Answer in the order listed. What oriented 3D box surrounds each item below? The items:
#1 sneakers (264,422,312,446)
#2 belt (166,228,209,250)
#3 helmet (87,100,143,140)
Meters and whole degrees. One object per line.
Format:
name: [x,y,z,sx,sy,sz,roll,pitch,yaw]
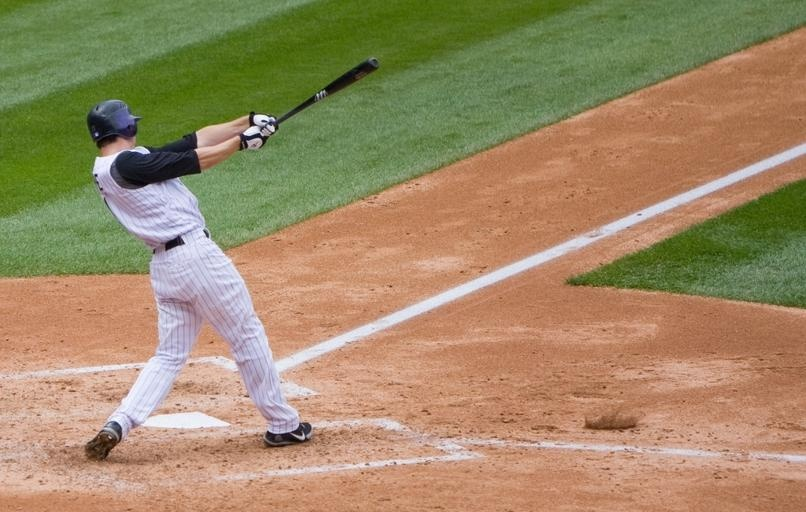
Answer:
sneakers: [-1.085,1.743,12.914,0.513,0.154,0.187,-6,10,-20]
belt: [-2.095,-0.136,12.621,0.333,0.095,0.249,-21,-2,12]
helmet: [-2.772,-1.265,12.833,0.422,0.305,0.568,-17,-15,41]
